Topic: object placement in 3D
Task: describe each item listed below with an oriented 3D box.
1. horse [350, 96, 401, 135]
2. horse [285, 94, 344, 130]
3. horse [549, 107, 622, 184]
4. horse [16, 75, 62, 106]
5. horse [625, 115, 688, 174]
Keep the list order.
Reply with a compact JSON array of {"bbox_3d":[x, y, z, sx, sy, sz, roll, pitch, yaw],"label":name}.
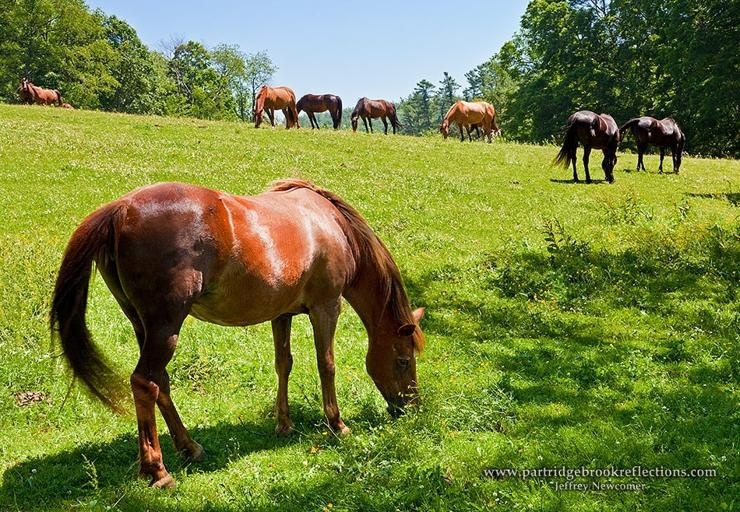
[{"bbox_3d":[0.442,-9.969,52.747,4.968,2.628,1.234,-14,11,-43],"label":"horse"},{"bbox_3d":[-3.762,-10.220,52.462,4.331,2.452,1.196,3,11,28],"label":"horse"},{"bbox_3d":[9.661,-4.710,31.299,4.784,3.180,1.159,-2,7,-36],"label":"horse"},{"bbox_3d":[-21.019,-10.441,47.216,2.114,1.589,5.463,-3,11,-17],"label":"horse"},{"bbox_3d":[13.198,-5.255,34.086,4.080,2.690,0.992,4,-1,-25],"label":"horse"}]
